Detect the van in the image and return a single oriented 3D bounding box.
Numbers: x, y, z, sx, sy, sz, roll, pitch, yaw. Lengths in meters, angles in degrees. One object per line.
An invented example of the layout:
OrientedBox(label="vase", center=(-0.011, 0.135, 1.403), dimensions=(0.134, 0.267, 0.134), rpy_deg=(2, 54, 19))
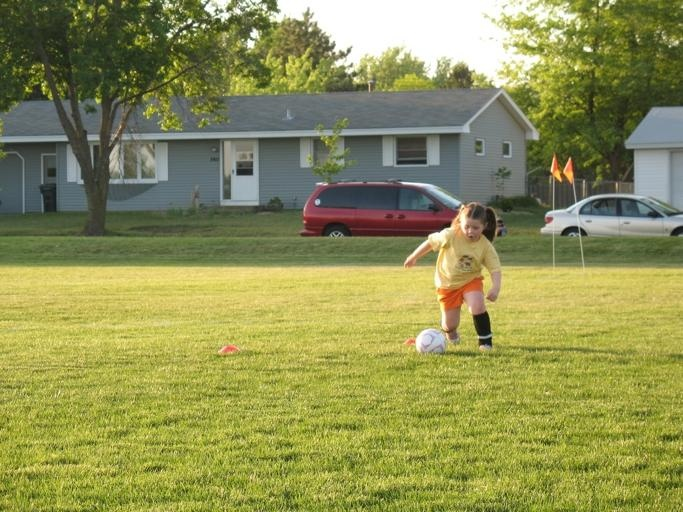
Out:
OrientedBox(label="van", center=(0.913, -1.092, 30.636), dimensions=(3.535, 1.251, 1.555), rpy_deg=(-2, 3, 8))

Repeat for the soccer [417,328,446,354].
OrientedBox(label="soccer", center=(1.271, 1.207, 17.895), dimensions=(0.355, 0.329, 0.339), rpy_deg=(18, 30, -14))

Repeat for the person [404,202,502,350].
OrientedBox(label="person", center=(1.707, 0.292, 18.241), dimensions=(1.108, 2.094, 1.005), rpy_deg=(-1, 2, 3))

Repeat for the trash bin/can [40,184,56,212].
OrientedBox(label="trash bin/can", center=(-9.967, -1.939, 42.859), dimensions=(0.549, 0.954, 0.500), rpy_deg=(-2, 2, -13))

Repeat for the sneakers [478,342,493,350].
OrientedBox(label="sneakers", center=(2.038, 1.301, 18.068), dimensions=(0.156, 0.068, 0.108), rpy_deg=(5, -1, 8))
